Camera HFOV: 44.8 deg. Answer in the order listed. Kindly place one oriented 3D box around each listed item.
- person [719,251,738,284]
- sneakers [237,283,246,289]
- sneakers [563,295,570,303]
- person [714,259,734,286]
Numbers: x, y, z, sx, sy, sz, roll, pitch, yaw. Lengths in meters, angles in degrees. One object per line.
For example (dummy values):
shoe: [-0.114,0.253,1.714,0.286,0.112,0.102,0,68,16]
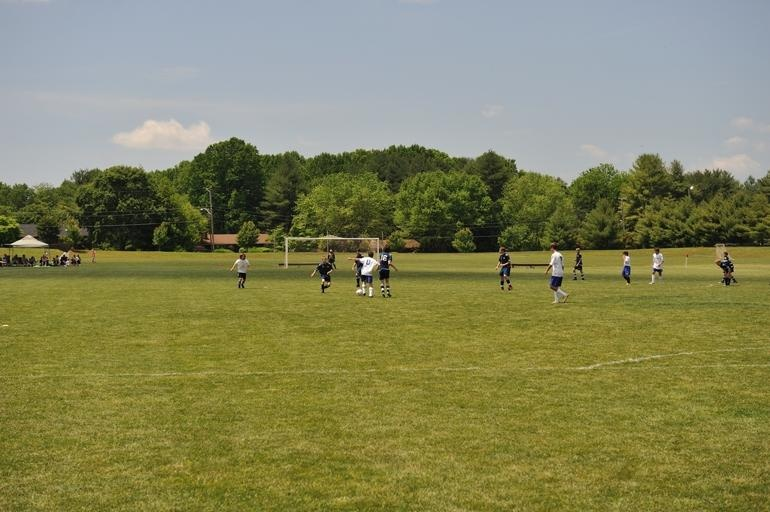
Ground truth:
person: [15.600,0.542,42.284,1.076,1.400,0.716,9,1,36]
sneakers: [-6.198,1.366,40.619,0.192,0.209,0.530,-1,-14,-20]
sneakers: [6.514,1.568,33.224,0.202,0.423,0.149,11,34,11]
person: [16.639,0.862,45.485,0.765,1.552,1.138,5,-9,12]
